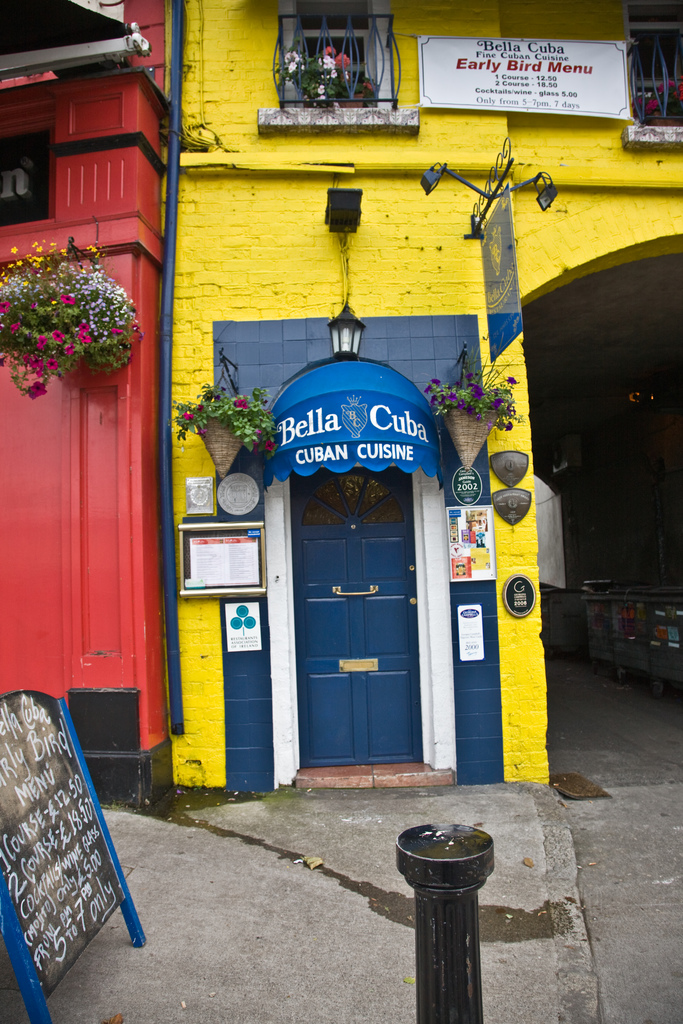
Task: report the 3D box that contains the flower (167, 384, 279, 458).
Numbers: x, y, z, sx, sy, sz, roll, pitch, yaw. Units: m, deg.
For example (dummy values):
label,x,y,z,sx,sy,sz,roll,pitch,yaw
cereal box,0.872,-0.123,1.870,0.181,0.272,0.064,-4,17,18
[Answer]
label,x,y,z,sx,sy,sz,roll,pitch,yaw
flower,-0.699,-0.605,6.196,0.498,0.351,0.496,3,-4,2

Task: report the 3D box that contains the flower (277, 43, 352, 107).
label,x,y,z,sx,sy,sz,roll,pitch,yaw
flower,-0.186,-3.120,6.843,0.534,0.362,0.471,-1,-1,-7

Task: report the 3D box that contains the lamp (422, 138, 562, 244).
label,x,y,z,sx,sy,sz,roll,pitch,yaw
lamp,1.014,-2.184,6.571,0.878,0.400,0.978,1,10,0

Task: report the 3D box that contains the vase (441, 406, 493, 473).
label,x,y,z,sx,sy,sz,roll,pitch,yaw
vase,0.818,-0.511,6.264,0.336,0.337,0.335,1,-1,2

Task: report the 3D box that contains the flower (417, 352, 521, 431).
label,x,y,z,sx,sy,sz,roll,pitch,yaw
flower,0.893,-0.711,6.365,0.744,0.426,0.587,3,-8,-11

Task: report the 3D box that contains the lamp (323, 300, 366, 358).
label,x,y,z,sx,sy,sz,roll,pitch,yaw
lamp,0.039,-1.213,6.335,0.220,0.384,0.353,4,4,14

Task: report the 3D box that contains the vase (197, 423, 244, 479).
label,x,y,z,sx,sy,sz,roll,pitch,yaw
vase,-0.739,-0.398,6.167,0.289,0.290,0.299,1,-2,4
